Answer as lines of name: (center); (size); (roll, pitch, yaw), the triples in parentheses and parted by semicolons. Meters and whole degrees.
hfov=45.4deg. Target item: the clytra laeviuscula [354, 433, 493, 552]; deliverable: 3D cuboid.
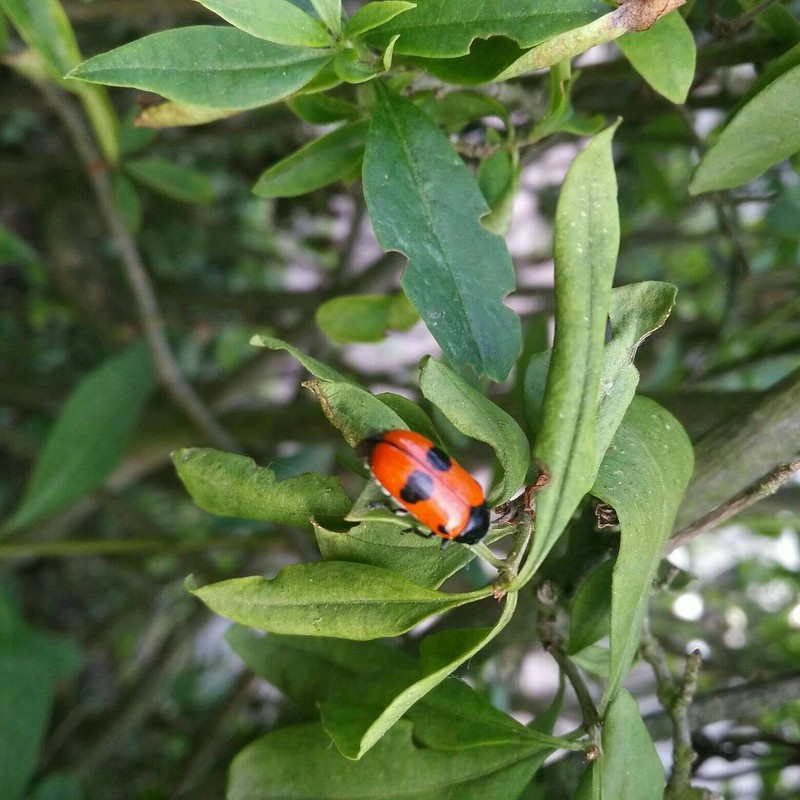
clytra laeviuscula: (0.025, 0.072, 0.785); (0.122, 0.077, 0.040); (40, -22, -25)
